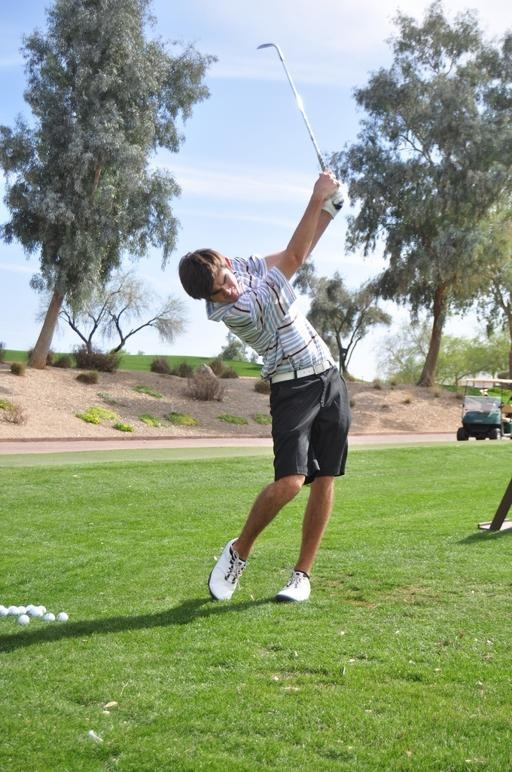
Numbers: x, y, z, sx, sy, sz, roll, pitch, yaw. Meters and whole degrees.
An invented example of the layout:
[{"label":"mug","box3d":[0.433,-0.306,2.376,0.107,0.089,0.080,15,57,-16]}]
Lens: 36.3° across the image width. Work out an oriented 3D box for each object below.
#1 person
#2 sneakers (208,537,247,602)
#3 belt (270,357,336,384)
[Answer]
[{"label":"person","box3d":[0.068,-0.004,4.035,0.962,1.676,0.393,1,0,-28]},{"label":"sneakers","box3d":[-0.142,0.996,4.086,0.126,0.365,0.146,36,-43,-26]},{"label":"belt","box3d":[0.209,-0.060,4.030,0.175,0.041,0.169,-12,7,40]}]
